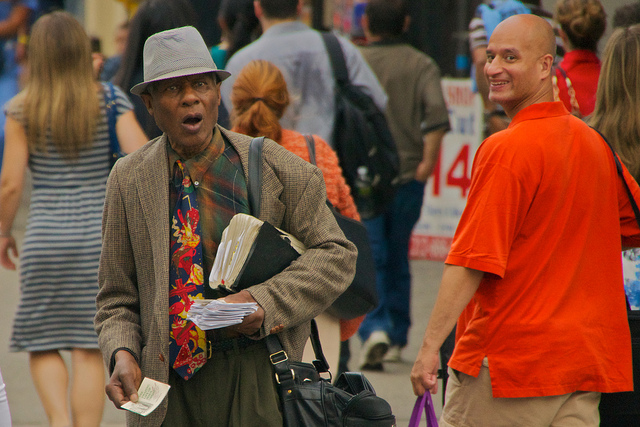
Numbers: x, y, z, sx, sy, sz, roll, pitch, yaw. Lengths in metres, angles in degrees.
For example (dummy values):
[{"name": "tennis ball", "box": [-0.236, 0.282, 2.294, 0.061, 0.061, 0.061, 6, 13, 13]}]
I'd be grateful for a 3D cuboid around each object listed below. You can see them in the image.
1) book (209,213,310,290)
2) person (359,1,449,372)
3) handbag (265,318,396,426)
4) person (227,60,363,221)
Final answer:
[{"name": "book", "box": [-0.426, 0.251, 11.257, 0.558, 0.438, 0.189, 21, 15, -22]}, {"name": "person", "box": [0.953, -0.153, 14.633, 1.193, 2.904, 1.098, 1, -2, -4]}, {"name": "handbag", "box": [0.056, 1.096, 11.277, 0.824, 0.727, 0.331, -5, 0, -3]}, {"name": "person", "box": [-0.372, -0.546, 12.912, 0.903, 1.203, 1.797, 2, -7, -13]}]
